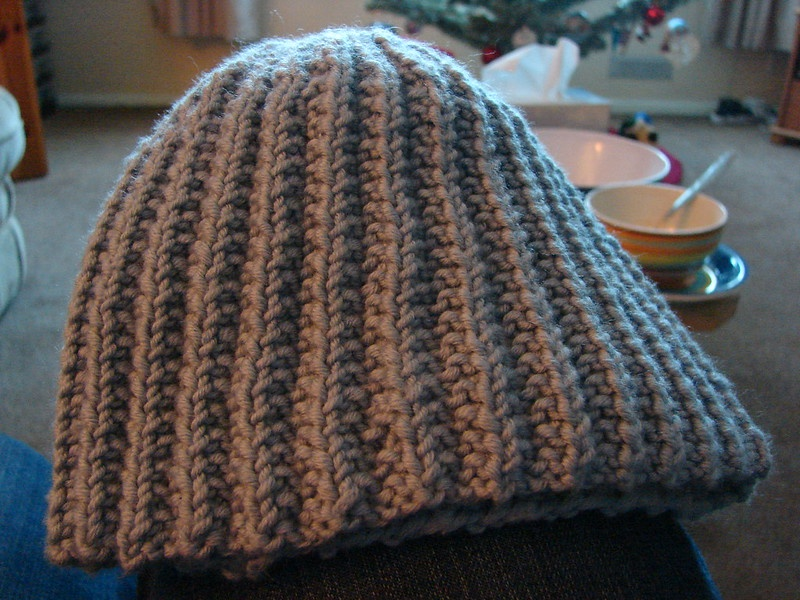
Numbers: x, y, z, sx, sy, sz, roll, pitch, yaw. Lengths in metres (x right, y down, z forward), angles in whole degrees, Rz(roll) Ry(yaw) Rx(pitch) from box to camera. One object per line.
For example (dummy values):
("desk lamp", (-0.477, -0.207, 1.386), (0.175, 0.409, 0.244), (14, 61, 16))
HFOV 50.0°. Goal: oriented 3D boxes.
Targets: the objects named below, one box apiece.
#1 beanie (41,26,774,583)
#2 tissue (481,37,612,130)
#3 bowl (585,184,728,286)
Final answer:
("beanie", (-0.022, 0.004, 0.600), (0.491, 0.275, 0.319), (-11, 39, -14))
("tissue", (0.146, -0.242, 1.016), (0.162, 0.089, 0.149), (-4, 35, -11))
("bowl", (0.228, -0.060, 0.743), (0.107, 0.058, 0.099), (-2, 27, 1))
